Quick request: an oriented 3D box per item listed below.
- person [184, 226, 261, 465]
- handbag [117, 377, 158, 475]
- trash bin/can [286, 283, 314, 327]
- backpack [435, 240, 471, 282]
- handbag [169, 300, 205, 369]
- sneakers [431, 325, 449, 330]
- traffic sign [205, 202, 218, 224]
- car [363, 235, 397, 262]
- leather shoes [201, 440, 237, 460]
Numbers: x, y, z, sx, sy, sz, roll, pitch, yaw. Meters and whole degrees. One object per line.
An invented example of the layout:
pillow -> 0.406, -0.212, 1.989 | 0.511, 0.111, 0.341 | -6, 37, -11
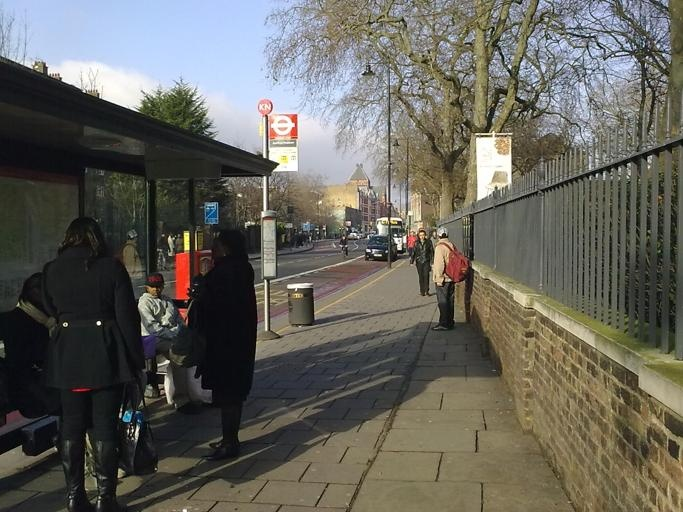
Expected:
person -> -1.083, 0.816, 6.422 | 0.580, 2.107, 0.407 | -1, 3, -13
handbag -> -1.689, 1.450, 5.666 | 0.272, 0.956, 0.846 | -6, 2, -16
trash bin/can -> -0.815, 0.956, 13.676 | 0.469, 0.877, 0.533 | -1, 6, 6
backpack -> 1.947, 0.172, 12.445 | 0.589, 0.804, 0.439 | 4, -8, 6
handbag -> -1.427, 0.742, 6.557 | 0.415, 0.288, 0.615 | 6, 12, -5
sneakers -> 1.831, 1.380, 12.924 | 0.285, 0.143, 0.110 | 6, 2, 4
traffic sign -> -4.832, -1.601, 25.585 | 0.430, 0.741, 0.931 | -2, 4, -18
car -> 2.320, -0.357, 41.180 | 1.249, 1.254, 3.343 | 0, -2, 6
leather shoes -> -1.139, 1.816, 6.354 | 0.337, 0.187, 0.129 | 1, 2, 1
